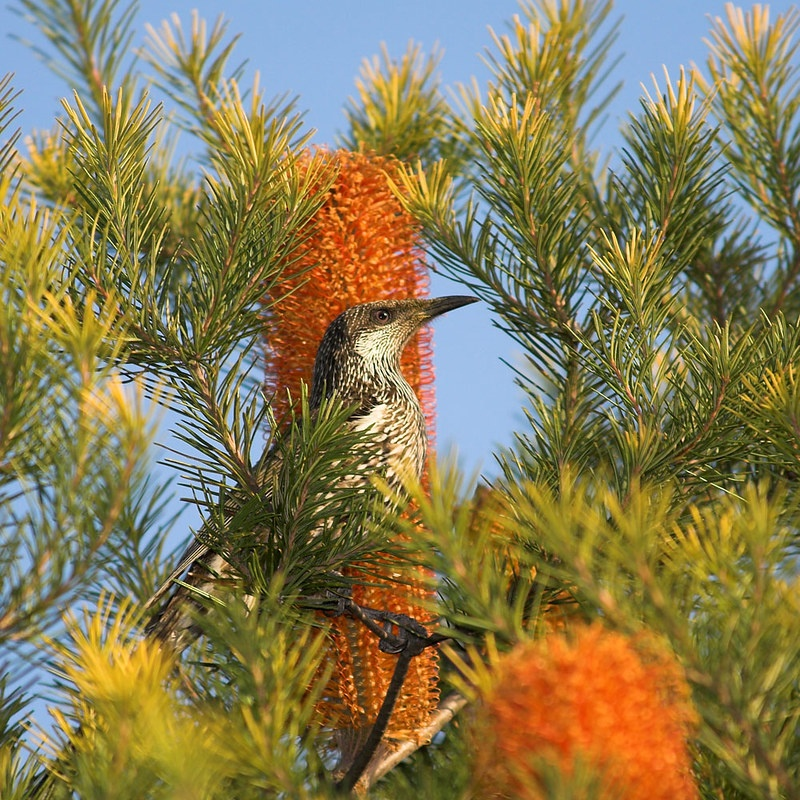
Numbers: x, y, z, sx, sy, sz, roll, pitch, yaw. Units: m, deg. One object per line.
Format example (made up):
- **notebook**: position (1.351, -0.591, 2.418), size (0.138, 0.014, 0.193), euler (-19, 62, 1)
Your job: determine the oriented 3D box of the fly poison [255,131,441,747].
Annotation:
- **fly poison**: position (-0.121, 0.110, 4.284), size (0.251, 1.361, 0.811), euler (-1, -17, 24)
